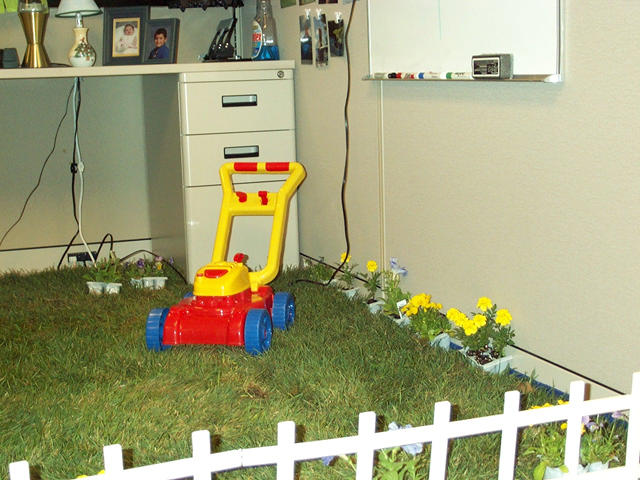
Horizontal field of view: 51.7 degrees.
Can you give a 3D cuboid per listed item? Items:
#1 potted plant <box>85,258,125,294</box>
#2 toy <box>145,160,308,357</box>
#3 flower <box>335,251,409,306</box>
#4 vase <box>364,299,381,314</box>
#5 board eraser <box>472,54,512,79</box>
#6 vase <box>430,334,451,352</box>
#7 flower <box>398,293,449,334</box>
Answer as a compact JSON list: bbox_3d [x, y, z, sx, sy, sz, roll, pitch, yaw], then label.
[{"bbox_3d":[-1.198,0.207,3.640,0.149,0.117,0.227,2,25,-9],"label":"potted plant"},{"bbox_3d":[-0.373,0.038,2.941,0.468,0.784,0.898,-2,6,12],"label":"toy"},{"bbox_3d":[0.257,0.194,3.265,0.155,0.200,0.376,-12,19,-27],"label":"flower"},{"bbox_3d":[0.255,0.315,3.125,0.043,0.031,0.048,-5,13,-20],"label":"vase"},{"bbox_3d":[0.611,-0.616,2.349,0.035,0.087,0.167,-10,15,-36],"label":"board eraser"},{"bbox_3d":[0.496,0.413,2.701,0.063,0.058,0.054,-3,17,-12],"label":"vase"},{"bbox_3d":[0.432,0.282,2.844,0.162,0.111,0.178,-12,-8,-1],"label":"flower"}]
